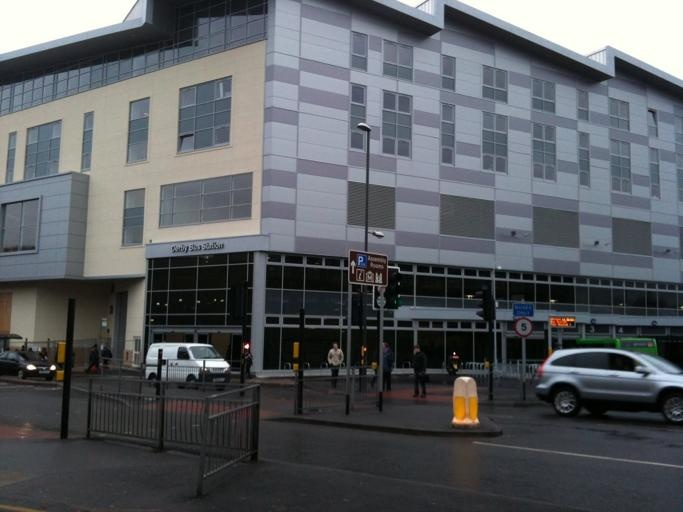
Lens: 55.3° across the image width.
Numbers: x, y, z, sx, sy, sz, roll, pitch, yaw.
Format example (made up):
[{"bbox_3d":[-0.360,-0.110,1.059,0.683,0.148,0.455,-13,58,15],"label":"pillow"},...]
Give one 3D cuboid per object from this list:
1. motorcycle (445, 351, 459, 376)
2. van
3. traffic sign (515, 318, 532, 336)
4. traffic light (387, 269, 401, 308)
[{"bbox_3d":[7.154,6.841,41.963,0.802,1.483,1.761,-2,-9,9],"label":"motorcycle"},{"bbox_3d":[-7.016,4.814,30.046,2.403,1.725,5.231,8,-12,-42],"label":"van"},{"bbox_3d":[6.916,2.700,24.798,0.512,0.691,0.628,-2,-9,9],"label":"traffic sign"},{"bbox_3d":[1.768,1.156,22.305,0.561,1.202,0.358,-1,-9,4],"label":"traffic light"}]
